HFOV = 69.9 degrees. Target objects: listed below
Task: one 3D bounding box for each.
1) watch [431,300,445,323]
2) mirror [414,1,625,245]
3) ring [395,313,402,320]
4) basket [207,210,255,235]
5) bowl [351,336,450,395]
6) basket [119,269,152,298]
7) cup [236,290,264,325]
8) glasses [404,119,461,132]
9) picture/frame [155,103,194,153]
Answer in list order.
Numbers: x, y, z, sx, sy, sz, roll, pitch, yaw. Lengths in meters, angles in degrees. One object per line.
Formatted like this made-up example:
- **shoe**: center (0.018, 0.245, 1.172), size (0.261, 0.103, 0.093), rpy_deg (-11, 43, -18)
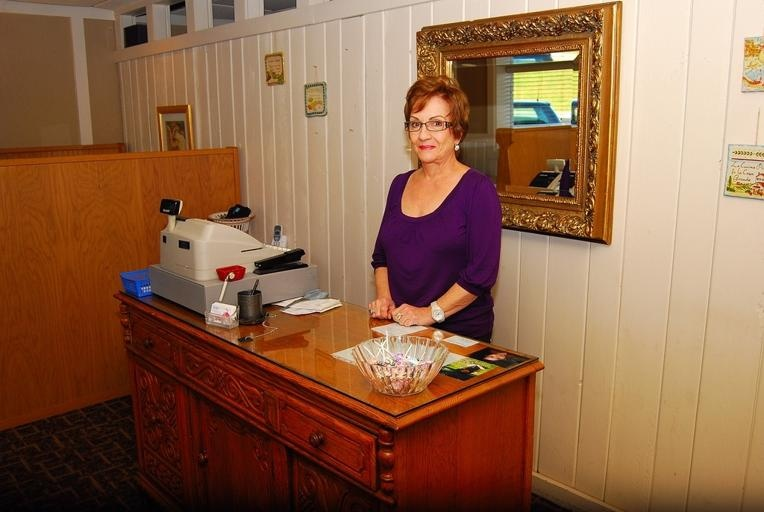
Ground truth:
- **watch**: center (0.268, 0.282, 2.748), size (0.059, 0.100, 0.101), rpy_deg (-23, 13, 1)
- **mirror**: center (0.771, -0.679, 2.927), size (1.341, 1.297, 0.108), rpy_deg (6, 13, 41)
- **ring**: center (0.074, 0.299, 2.686), size (0.027, 0.027, 0.008), rpy_deg (-2, -5, 35)
- **basket**: center (-1.260, -0.239, 4.603), size (0.369, 0.222, 0.515), rpy_deg (-5, 16, -14)
- **bowl**: center (0.062, 0.424, 2.157), size (0.252, 0.093, 0.254), rpy_deg (-1, 7, 0)
- **basket**: center (-1.480, 0.160, 3.290), size (0.212, 0.078, 0.152), rpy_deg (8, 11, 40)
- **cup**: center (-0.661, 0.253, 2.766), size (0.126, 0.150, 0.171), rpy_deg (5, 13, 20)
- **glasses**: center (0.248, -0.678, 2.846), size (0.263, 0.060, 0.078), rpy_deg (1, 15, 7)
- **picture/frame**: center (-2.033, -1.262, 5.377), size (0.613, 0.614, 0.048), rpy_deg (12, 15, 38)
